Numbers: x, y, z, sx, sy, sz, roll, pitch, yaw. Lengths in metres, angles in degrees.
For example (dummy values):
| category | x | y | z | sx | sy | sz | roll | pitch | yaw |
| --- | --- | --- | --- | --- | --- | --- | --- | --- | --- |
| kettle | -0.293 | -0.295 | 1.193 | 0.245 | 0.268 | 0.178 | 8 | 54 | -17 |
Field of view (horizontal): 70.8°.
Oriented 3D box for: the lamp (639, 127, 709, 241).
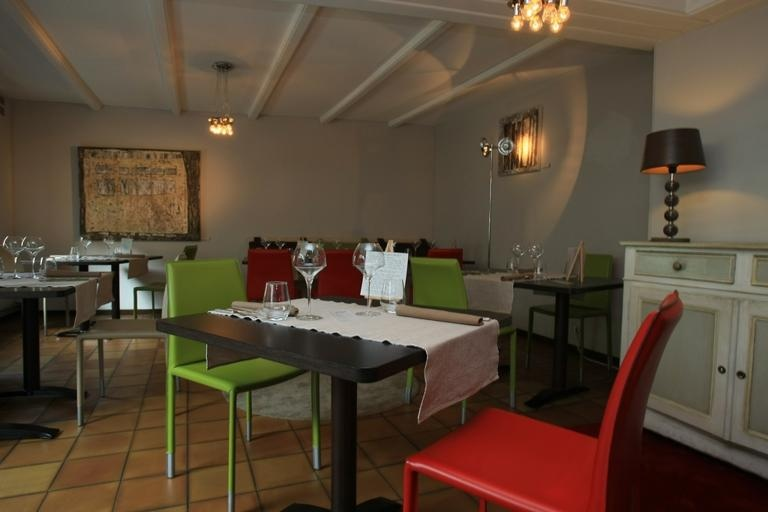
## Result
| category | x | y | z | sx | sy | sz | roll | pitch | yaw |
| --- | --- | --- | --- | --- | --- | --- | --- | --- | --- |
| lamp | 2.369 | -0.594 | 4.422 | 0.440 | 0.924 | 0.542 | 3 | 5 | 42 |

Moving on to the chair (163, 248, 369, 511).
| category | x | y | z | sx | sy | sz | roll | pitch | yaw |
| --- | --- | --- | --- | --- | --- | --- | --- | --- | --- |
| chair | -0.667 | 0.760 | 4.502 | 1.419 | 2.448 | 1.434 | 0 | 0 | 40 |

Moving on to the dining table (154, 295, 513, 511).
| category | x | y | z | sx | sy | sz | roll | pitch | yaw |
| --- | --- | --- | --- | --- | --- | --- | --- | --- | --- |
| dining table | -0.223 | 0.584 | 3.018 | 1.340 | 1.030 | 1.394 | 3 | -3 | -44 |

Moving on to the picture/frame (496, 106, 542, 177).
| category | x | y | z | sx | sy | sz | roll | pitch | yaw |
| --- | --- | --- | --- | --- | --- | --- | --- | --- | --- |
| picture/frame | 1.689 | -1.410 | 6.644 | 0.101 | 0.999 | 1.003 | -1 | 1 | -25 |
